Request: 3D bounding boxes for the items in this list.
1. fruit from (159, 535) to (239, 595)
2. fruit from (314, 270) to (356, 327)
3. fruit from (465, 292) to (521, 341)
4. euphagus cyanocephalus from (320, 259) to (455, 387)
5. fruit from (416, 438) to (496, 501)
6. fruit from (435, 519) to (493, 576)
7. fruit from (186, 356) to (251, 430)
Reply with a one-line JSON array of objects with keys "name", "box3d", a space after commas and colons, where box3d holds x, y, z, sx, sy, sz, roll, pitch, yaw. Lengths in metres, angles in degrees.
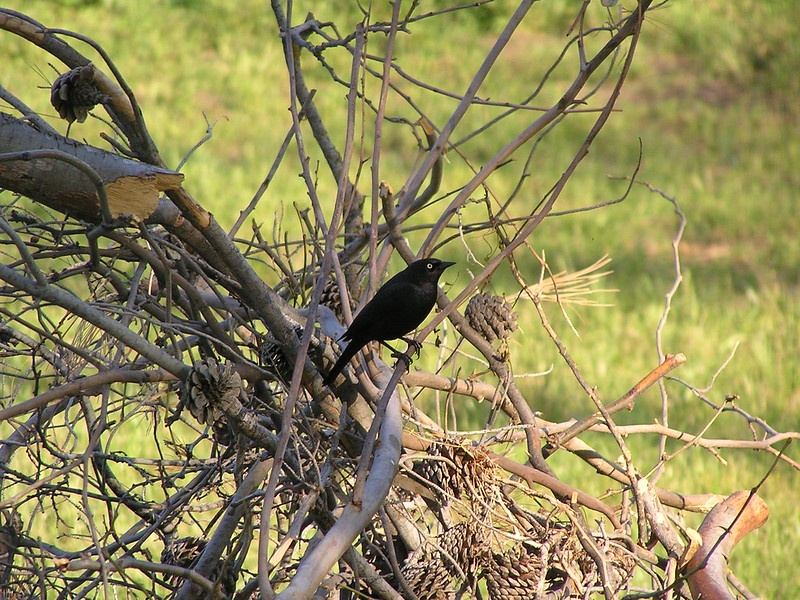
[{"name": "fruit", "box3d": [-1.088, 1.433, 7.429, 0.364, 0.374, 0.220, 30, -60, -8]}, {"name": "fruit", "box3d": [-0.358, 0.004, 7.305, 0.111, 0.295, 0.129, 38, -84, -7]}, {"name": "fruit", "box3d": [0.521, 0.112, 7.531, 0.208, 0.284, 0.252, -26, -23, 32]}, {"name": "euphagus cyanocephalus", "box3d": [-0.077, 0.101, 7.549, 0.742, 0.352, 0.619, -7, -89, 13]}, {"name": "fruit", "box3d": [0.309, 0.911, 7.218, 0.306, 0.230, 0.327, 22, -11, 6]}, {"name": "fruit", "box3d": [0.360, 1.318, 7.251, 0.286, 0.239, 0.199, -40, -21, -4]}, {"name": "fruit", "box3d": [-0.916, 0.463, 6.853, 0.290, 0.340, 0.183, 29, -64, -23]}]
